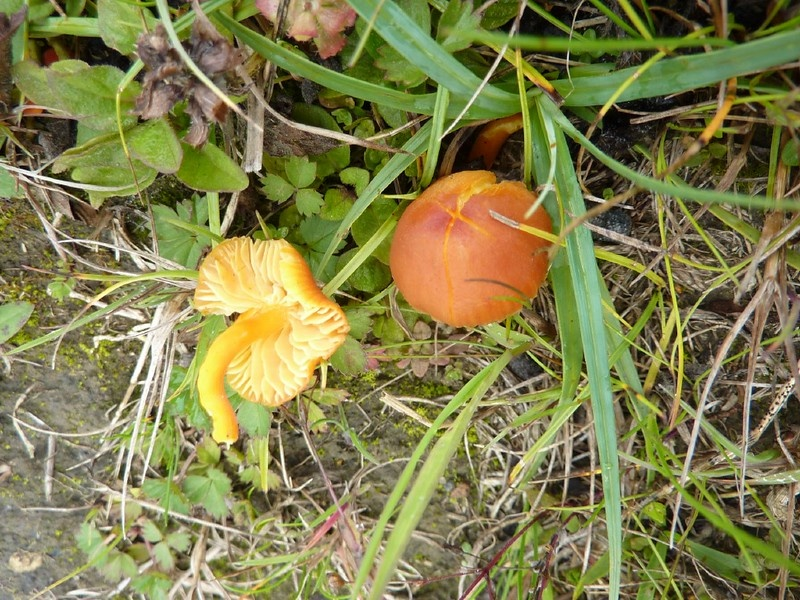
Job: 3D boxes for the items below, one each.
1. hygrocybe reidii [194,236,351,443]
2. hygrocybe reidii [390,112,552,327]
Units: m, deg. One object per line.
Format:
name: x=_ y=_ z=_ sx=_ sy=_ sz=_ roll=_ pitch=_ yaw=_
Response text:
hygrocybe reidii: x=-0.454 y=0.076 z=2.263 sx=0.272 sy=0.589 sz=0.521 roll=-13 pitch=88 yaw=25
hygrocybe reidii: x=0.208 y=-0.162 z=2.165 sx=0.461 sy=0.195 sz=0.445 roll=18 pitch=73 yaw=2
